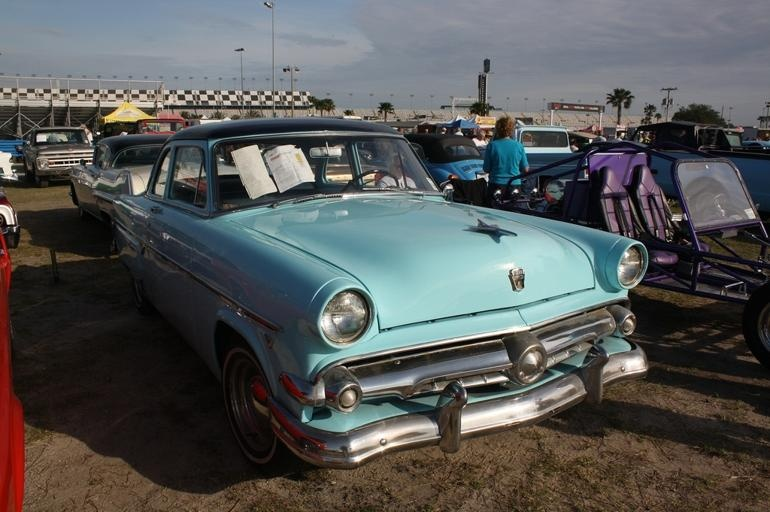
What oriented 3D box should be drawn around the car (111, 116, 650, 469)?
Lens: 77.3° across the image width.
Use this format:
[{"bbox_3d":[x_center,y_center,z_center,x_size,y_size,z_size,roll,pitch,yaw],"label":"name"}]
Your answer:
[{"bbox_3d":[-0.134,0.115,3.569,3.297,2.257,2.363,12,23,40],"label":"car"}]
